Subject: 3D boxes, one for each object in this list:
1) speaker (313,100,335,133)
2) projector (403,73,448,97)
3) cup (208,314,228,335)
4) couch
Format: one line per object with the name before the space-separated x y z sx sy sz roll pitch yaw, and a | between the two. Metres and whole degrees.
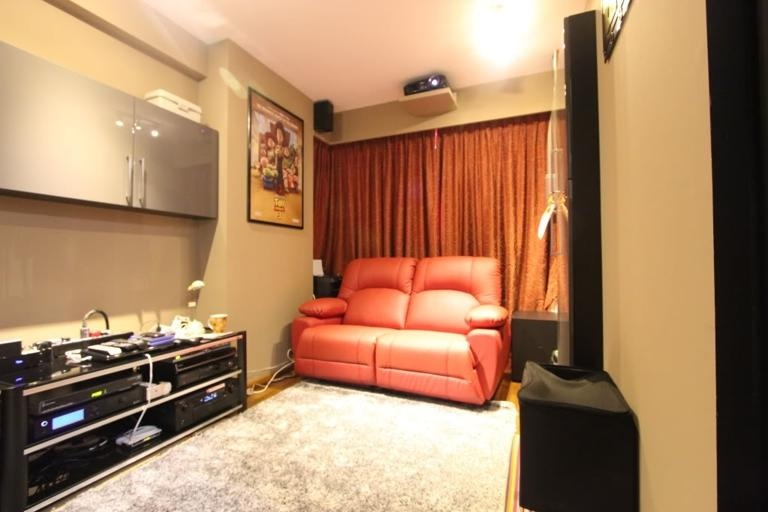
speaker | -0.615 -1.483 5.485 0.158 0.326 0.292 11 18 36
projector | 0.392 -1.610 4.900 0.405 0.209 0.247 1 14 5
cup | -1.242 0.514 3.874 0.157 0.133 0.132 -2 -1 -9
couch | 0.137 0.567 4.493 1.812 1.077 1.032 1 4 27
